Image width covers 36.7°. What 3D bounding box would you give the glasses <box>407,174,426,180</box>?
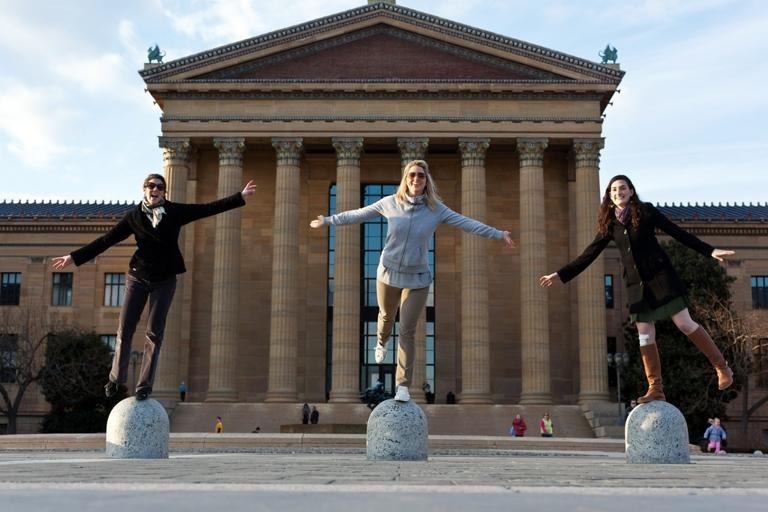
[{"bbox_3d":[1.003,-2.427,34.375,0.451,0.179,0.104,1,-11,-3],"label":"glasses"}]
